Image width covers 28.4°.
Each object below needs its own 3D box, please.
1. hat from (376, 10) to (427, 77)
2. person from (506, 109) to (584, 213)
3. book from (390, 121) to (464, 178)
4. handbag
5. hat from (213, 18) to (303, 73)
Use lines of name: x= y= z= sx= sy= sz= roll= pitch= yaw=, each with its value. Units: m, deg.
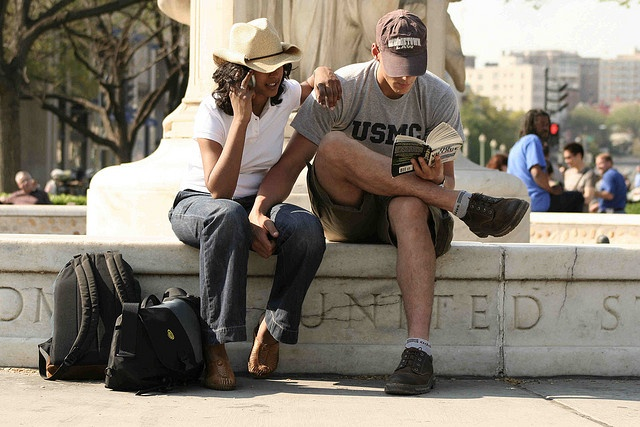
hat: x=0.961 y=-2.054 z=14.986 sx=0.660 sy=0.407 sz=1.030 roll=0 pitch=29 yaw=-2
person: x=3.407 y=-0.628 z=19.832 sx=0.898 sy=1.857 sz=0.922 roll=-5 pitch=4 yaw=-14
book: x=1.222 y=-0.755 z=14.755 sx=0.975 sy=0.598 sz=0.359 roll=-11 pitch=50 yaw=-20
handbag: x=-1.905 y=1.448 z=15.007 sx=0.825 sy=1.158 sz=1.469 roll=-1 pitch=0 yaw=28
hat: x=-0.775 y=-2.038 z=15.309 sx=0.921 sy=0.505 sz=1.149 roll=-16 pitch=16 yaw=-32
